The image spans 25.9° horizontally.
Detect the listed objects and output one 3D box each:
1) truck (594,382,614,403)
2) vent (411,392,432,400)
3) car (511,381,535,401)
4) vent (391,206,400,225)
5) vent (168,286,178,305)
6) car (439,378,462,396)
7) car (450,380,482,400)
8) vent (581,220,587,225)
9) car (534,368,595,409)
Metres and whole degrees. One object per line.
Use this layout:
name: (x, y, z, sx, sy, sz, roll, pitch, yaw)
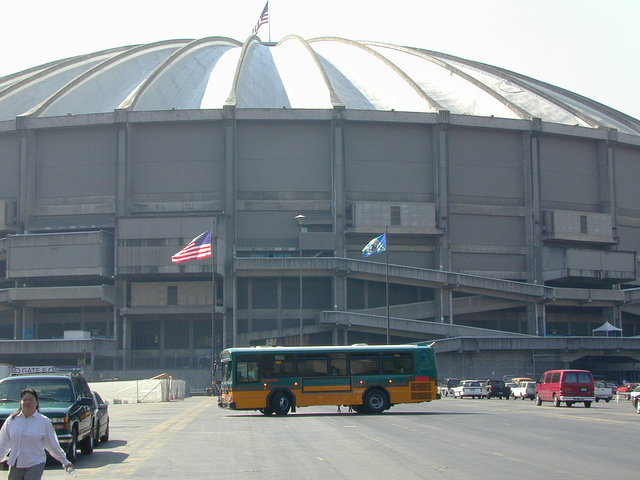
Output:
truck: (27.374, 14.984, 135.892, 1.862, 1.398, 3.546, -1, -2, -1)
vent: (8.417, 13.251, 117.282, 1.347, 0.627, 0.299, -2, -3, -9)
car: (20.013, 15.045, 138.015, 1.281, 1.909, 2.559, 2, -14, -17)
vent: (8.702, -2.763, 163.165, 0.970, 2.047, 0.530, 0, -14, -9)
vent: (-17.012, 6.541, 161.948, 1.083, 2.141, 0.366, 0, -14, -12)
car: (13.573, 15.573, 147.763, 1.497, 1.265, 2.427, 1, -2, -3)
car: (14.706, 15.354, 140.955, 2.084, 1.378, 3.437, 0, -2, -4)
vent: (31.318, -2.017, 167.384, 0.797, 0.758, 0.420, 4, -4, -13)
car: (21.393, 13.197, 123.234, 4.819, 3.318, 1.867, -10, -16, 28)
